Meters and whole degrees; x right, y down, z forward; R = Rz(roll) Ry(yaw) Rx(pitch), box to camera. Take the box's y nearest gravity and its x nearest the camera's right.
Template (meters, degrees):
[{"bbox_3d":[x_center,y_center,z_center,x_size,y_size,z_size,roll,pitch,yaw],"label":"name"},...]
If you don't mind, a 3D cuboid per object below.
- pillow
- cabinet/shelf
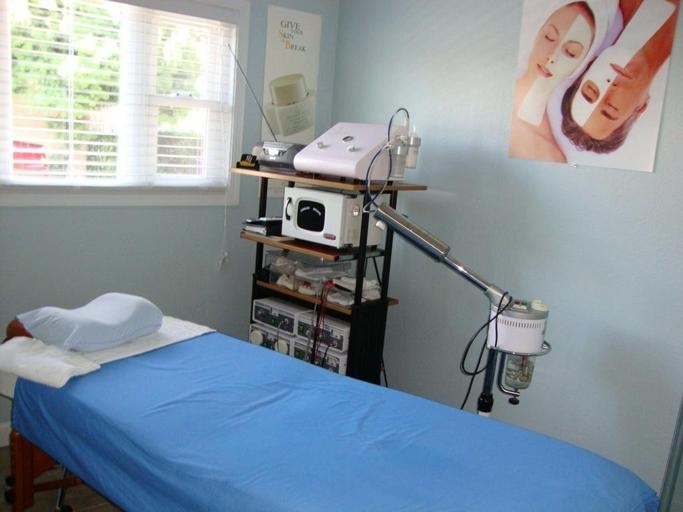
[{"bbox_3d":[-1.106,0.246,2.448,0.495,0.149,0.480,18,-5,5],"label":"pillow"},{"bbox_3d":[-0.040,0.115,2.896,1.128,1.590,0.751,8,9,43],"label":"cabinet/shelf"}]
